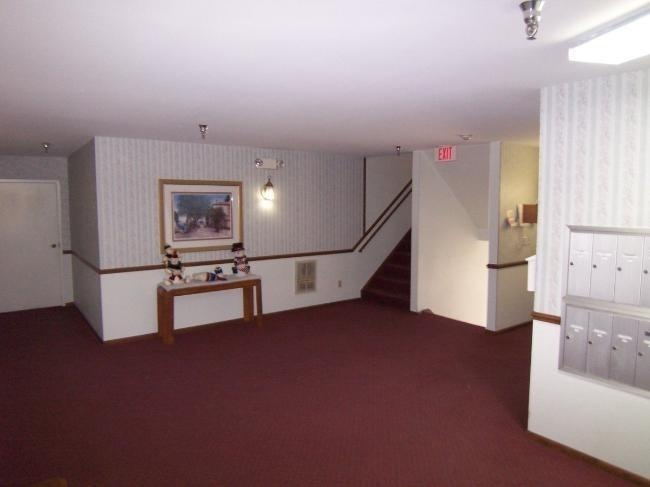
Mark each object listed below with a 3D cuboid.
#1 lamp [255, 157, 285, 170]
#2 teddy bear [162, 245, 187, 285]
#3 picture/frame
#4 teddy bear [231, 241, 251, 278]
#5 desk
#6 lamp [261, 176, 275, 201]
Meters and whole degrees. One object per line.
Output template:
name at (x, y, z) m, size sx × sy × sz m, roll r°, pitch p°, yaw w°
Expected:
lamp at (-0.871, -1.250, 7.060) m, size 0.513 × 0.179 × 0.097 m, roll -10°, pitch 14°, yaw -42°
teddy bear at (-2.051, 0.277, 6.137) m, size 0.267 × 0.584 × 0.169 m, roll -9°, pitch 28°, yaw -38°
picture/frame at (-1.841, -0.402, 6.473) m, size 1.010 × 0.902 × 0.070 m, roll -4°, pitch 6°, yaw -39°
teddy bear at (-1.291, 0.250, 6.832) m, size 0.300 × 0.519 × 0.260 m, roll -6°, pitch 4°, yaw -13°
desk at (-1.631, 0.904, 6.435) m, size 1.416 × 0.784 × 0.459 m, roll -5°, pitch 11°, yaw -37°
lamp at (-0.880, -0.853, 7.060) m, size 0.247 × 0.372 × 0.105 m, roll -7°, pitch 12°, yaw -33°
